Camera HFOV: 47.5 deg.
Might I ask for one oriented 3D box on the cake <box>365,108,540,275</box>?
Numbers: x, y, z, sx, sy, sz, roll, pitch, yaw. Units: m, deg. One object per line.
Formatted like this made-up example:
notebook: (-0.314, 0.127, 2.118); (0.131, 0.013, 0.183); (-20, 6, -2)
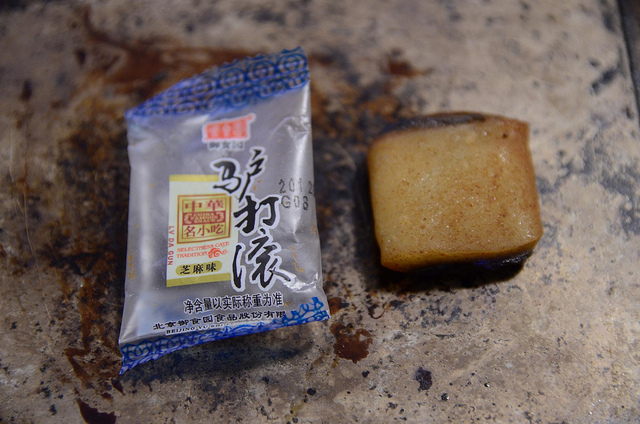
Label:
cake: (0.284, -0.050, 1.597); (0.365, 0.125, 0.355); (1, 72, -5)
